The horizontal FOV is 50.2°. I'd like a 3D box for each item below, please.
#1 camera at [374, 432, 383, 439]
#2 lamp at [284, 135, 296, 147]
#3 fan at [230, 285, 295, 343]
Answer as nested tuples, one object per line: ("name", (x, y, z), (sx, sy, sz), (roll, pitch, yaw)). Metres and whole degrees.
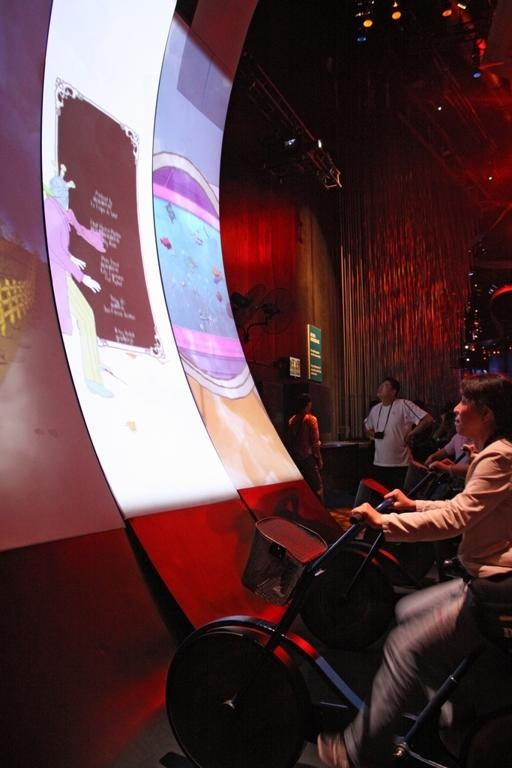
("camera", (0.917, 0.382, 4.088), (0.068, 0.042, 0.049), (-10, -12, 31))
("lamp", (0.418, -2.971, 6.755), (0.136, 0.099, 0.169), (0, 31, 35))
("fan", (0.042, -0.738, 5.901), (0.599, 0.570, 1.445), (-8, 7, -1))
